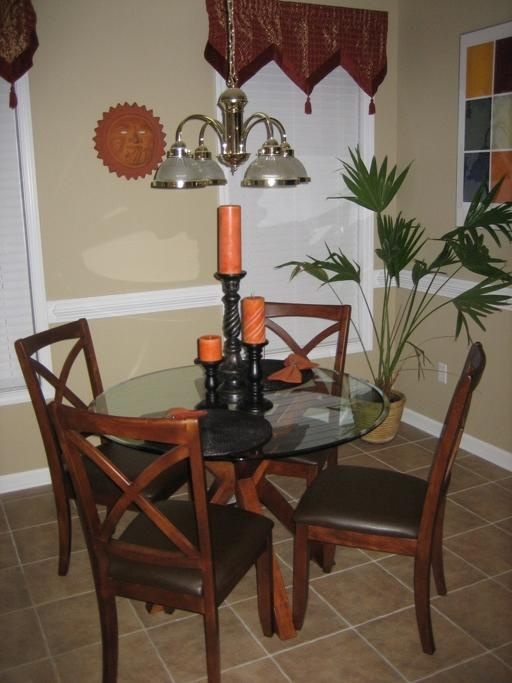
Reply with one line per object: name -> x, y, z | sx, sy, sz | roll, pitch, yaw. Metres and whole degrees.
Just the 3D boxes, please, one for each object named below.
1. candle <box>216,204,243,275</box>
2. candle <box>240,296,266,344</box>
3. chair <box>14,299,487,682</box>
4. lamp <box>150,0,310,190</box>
candle -> -0.084, -0.304, 1.776 | 0.070, 0.207, 0.052 | -3, 12, -3
candle -> -0.012, -0.068, 1.818 | 0.072, 0.146, 0.139 | -2, 11, -1
chair -> -0.121, 0.343, 1.970 | 1.276, 0.813, 1.219 | -2, 21, -1
lamp -> -0.068, -0.775, 1.951 | 0.465, 0.548, 0.784 | -1, 11, 5
